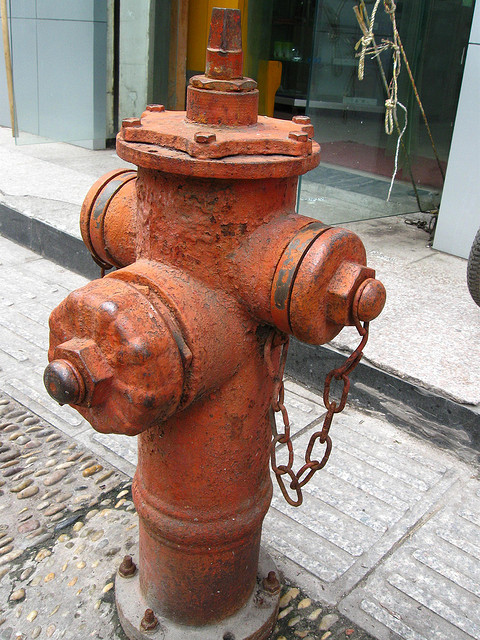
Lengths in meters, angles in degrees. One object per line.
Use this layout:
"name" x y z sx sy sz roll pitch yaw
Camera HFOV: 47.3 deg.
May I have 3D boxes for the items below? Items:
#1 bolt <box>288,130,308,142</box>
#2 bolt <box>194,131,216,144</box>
"bolt" 0.110 -0.351 1.034 0.030 0.022 0.031 -12 30 -29
"bolt" -0.056 -0.310 0.930 0.037 0.013 0.063 9 25 9
